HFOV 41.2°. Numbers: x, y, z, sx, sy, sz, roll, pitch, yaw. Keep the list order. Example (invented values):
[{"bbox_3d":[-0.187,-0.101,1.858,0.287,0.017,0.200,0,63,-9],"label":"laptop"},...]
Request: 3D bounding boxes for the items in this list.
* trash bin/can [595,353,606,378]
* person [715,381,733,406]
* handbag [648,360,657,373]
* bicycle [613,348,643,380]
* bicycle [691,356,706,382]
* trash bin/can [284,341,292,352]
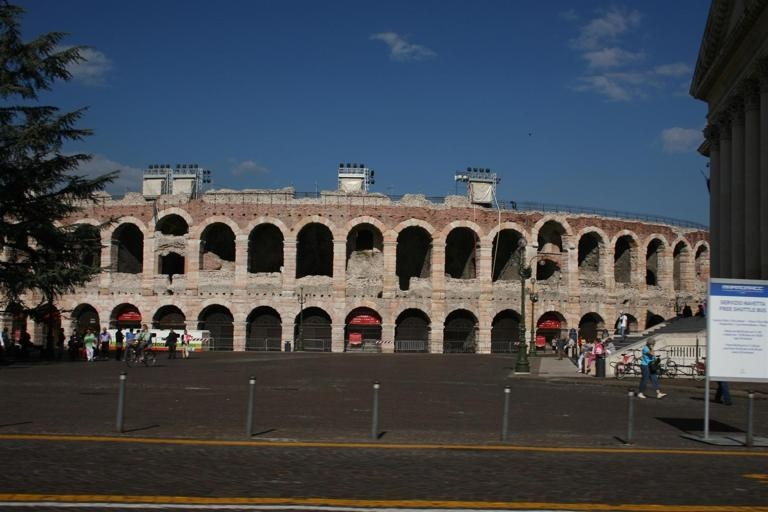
[{"bbox_3d":[11.134,5.690,52.508,0.461,1.174,0.773,0,-9,11],"label":"trash bin/can"},{"bbox_3d":[14.009,5.697,42.152,0.544,0.948,0.986,0,-8,9],"label":"person"},{"bbox_3d":[11.534,4.764,43.772,0.284,0.539,0.362,-1,-9,14],"label":"handbag"},{"bbox_3d":[12.330,5.707,53.079,2.483,1.314,1.140,-3,7,-11],"label":"bicycle"},{"bbox_3d":[15.971,5.689,51.875,0.529,1.084,1.375,0,-8,12],"label":"bicycle"},{"bbox_3d":[-7.073,6.811,76.804,0.578,0.725,1.199,2,-8,-6],"label":"trash bin/can"}]
